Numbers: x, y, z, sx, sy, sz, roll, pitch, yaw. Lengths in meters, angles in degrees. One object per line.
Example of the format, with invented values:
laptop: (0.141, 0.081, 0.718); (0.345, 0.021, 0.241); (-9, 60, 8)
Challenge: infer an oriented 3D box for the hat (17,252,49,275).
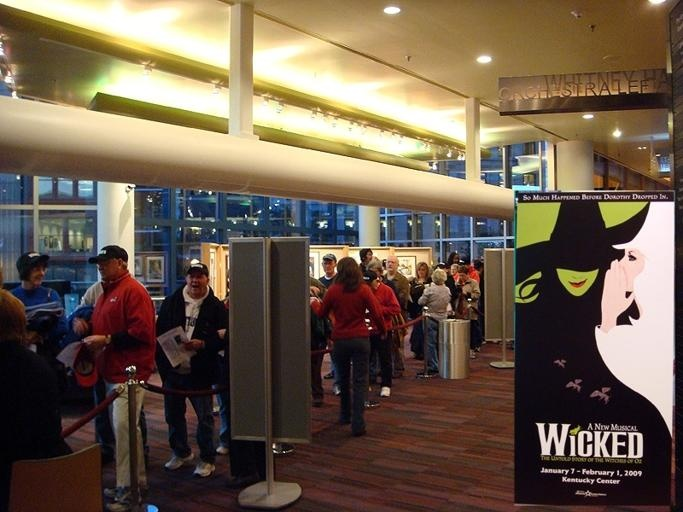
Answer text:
hat: (-2.773, 0.033, 4.872); (0.268, 0.144, 0.200); (-29, -9, 24)

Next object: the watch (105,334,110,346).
watch: (-1.678, 0.603, 3.936); (0.050, 0.091, 0.067); (2, -5, -11)

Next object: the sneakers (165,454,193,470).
sneakers: (-1.360, 1.731, 4.596); (0.084, 0.104, 0.239); (-8, -12, 33)

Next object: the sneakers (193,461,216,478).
sneakers: (-1.103, 1.707, 4.400); (0.169, 0.093, 0.170); (0, 1, -15)

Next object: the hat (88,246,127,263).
hat: (-1.756, -0.039, 4.137); (0.220, 0.135, 0.152); (11, -16, -28)

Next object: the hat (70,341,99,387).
hat: (-1.883, 0.806, 4.024); (0.159, 0.366, 0.279); (0, 1, -24)

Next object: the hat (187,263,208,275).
hat: (-1.169, 0.117, 4.491); (0.089, 0.068, 0.126); (2, -32, -5)

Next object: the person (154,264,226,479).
person: (-1.236, 0.903, 4.514); (0.555, 1.697, 0.596); (0, 1, -20)

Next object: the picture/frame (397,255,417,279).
picture/frame: (1.210, 0.209, 10.005); (0.408, 0.508, 0.049); (1, -15, -6)
